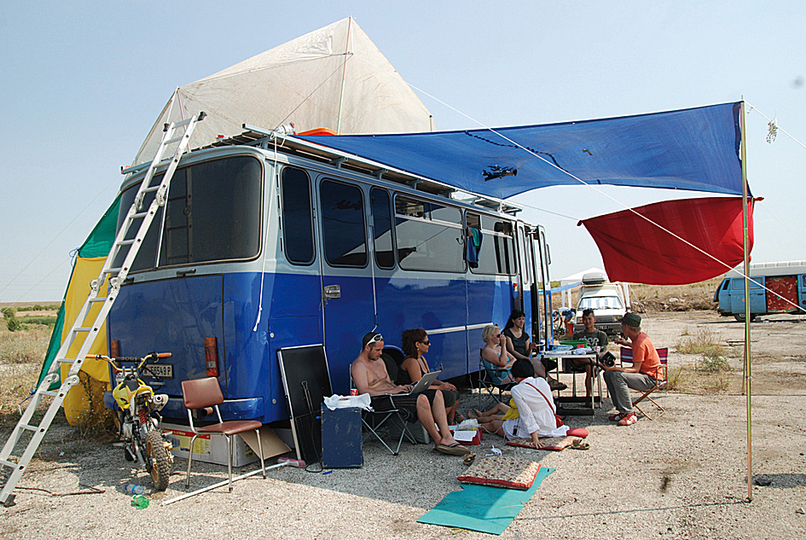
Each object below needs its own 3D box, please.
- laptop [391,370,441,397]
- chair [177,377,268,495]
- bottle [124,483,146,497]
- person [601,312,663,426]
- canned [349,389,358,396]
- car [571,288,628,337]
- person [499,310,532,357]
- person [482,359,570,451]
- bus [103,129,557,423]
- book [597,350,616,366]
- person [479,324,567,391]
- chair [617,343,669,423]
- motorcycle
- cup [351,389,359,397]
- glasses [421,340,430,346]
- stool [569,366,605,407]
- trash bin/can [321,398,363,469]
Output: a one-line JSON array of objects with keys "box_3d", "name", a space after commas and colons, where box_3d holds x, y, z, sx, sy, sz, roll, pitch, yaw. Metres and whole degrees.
[{"box_3d": [0.233, 1.781, 9.489, 0.353, 0.233, 0.378, -17, 1, 44], "name": "laptop"}, {"box_3d": [-2.387, 2.160, 8.206, 0.893, 1.368, 0.808, -3, -3, 19], "name": "chair"}, {"box_3d": [-3.448, 2.851, 8.018, 0.284, 0.163, 0.173, 3, -12, 14], "name": "bottle"}, {"box_3d": [4.060, 1.700, 10.891, 0.904, 1.900, 1.381, 0, 4, 30], "name": "person"}, {"box_3d": [-0.731, 1.811, 9.106, 0.124, 0.134, 0.133, 2, -7, -21], "name": "canned"}, {"box_3d": [7.019, 1.248, 22.431, 1.928, 1.934, 3.469, -3, -8, 16], "name": "car"}, {"box_3d": [2.321, 1.292, 12.318, 0.543, 0.945, 0.660, -7, -11, 41], "name": "person"}, {"box_3d": [1.821, 2.147, 10.196, 0.926, 1.279, 1.665, 2, -8, -40], "name": "person"}, {"box_3d": [-0.460, 0.469, 13.267, 4.061, 4.543, 11.044, -7, -5, 30], "name": "bus"}, {"box_3d": [3.618, 1.580, 11.061, 0.192, 0.180, 0.323, 30, -1, -1], "name": "book"}, {"box_3d": [2.226, 1.580, 11.253, 1.575, 1.175, 0.625, -4, 4, 25], "name": "person"}, {"box_3d": [4.502, 1.994, 11.297, 0.833, 1.124, 0.882, 0, -3, -7], "name": "chair"}, {"box_3d": [-3.677, 1.983, 8.839, 1.191, 1.552, 2.487, -8, 8, -34], "name": "motorcycle"}, {"box_3d": [-0.705, 1.815, 9.079, 0.097, 0.103, 0.097, 0, -7, 0], "name": "cup"}, {"box_3d": [0.374, 1.197, 10.036, 0.120, 0.036, 0.122, 15, -5, -19], "name": "glasses"}, {"box_3d": [3.678, 2.363, 12.360, 0.969, 0.970, 0.763, -1, -10, 11], "name": "stool"}, {"box_3d": [-0.851, 2.407, 9.118, 0.698, 0.869, 0.865, -1, -6, 3], "name": "trash bin/can"}]
